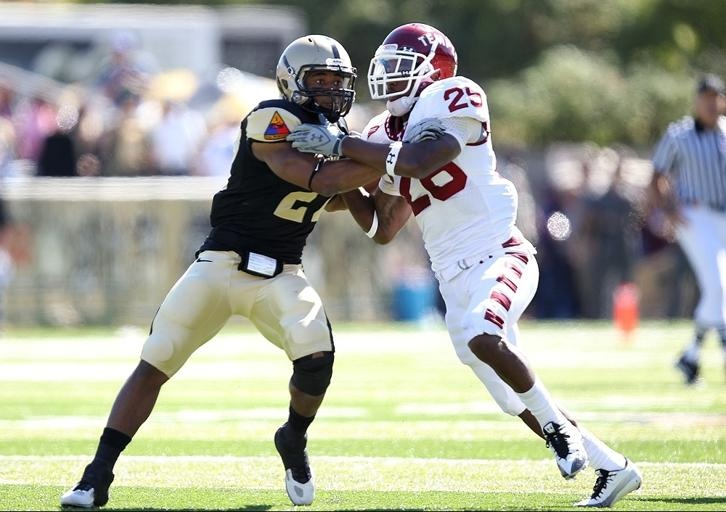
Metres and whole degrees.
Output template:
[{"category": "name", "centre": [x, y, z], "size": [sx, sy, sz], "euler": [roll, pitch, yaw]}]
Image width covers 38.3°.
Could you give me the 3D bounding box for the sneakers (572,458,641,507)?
[{"category": "sneakers", "centre": [1.370, 1.256, 5.905], "size": [0.364, 0.250, 0.170], "euler": [-3, 8, -27]}]

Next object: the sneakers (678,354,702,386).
[{"category": "sneakers", "centre": [2.670, 0.922, 8.588], "size": [0.120, 0.233, 0.195], "euler": [-9, 23, -10]}]

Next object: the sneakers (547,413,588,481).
[{"category": "sneakers", "centre": [1.128, 1.043, 5.826], "size": [0.197, 0.152, 0.396], "euler": [34, 26, -35]}]

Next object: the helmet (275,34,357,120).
[{"category": "helmet", "centre": [-0.369, -1.088, 6.363], "size": [0.493, 0.452, 0.560], "euler": [0, 6, -42]}]

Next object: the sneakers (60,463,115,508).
[{"category": "sneakers", "centre": [-1.511, 1.267, 5.884], "size": [0.145, 0.143, 0.374], "euler": [13, 4, 16]}]

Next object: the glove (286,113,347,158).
[{"category": "glove", "centre": [-0.271, -0.670, 6.045], "size": [0.318, 0.173, 0.144], "euler": [-2, 7, -19]}]
